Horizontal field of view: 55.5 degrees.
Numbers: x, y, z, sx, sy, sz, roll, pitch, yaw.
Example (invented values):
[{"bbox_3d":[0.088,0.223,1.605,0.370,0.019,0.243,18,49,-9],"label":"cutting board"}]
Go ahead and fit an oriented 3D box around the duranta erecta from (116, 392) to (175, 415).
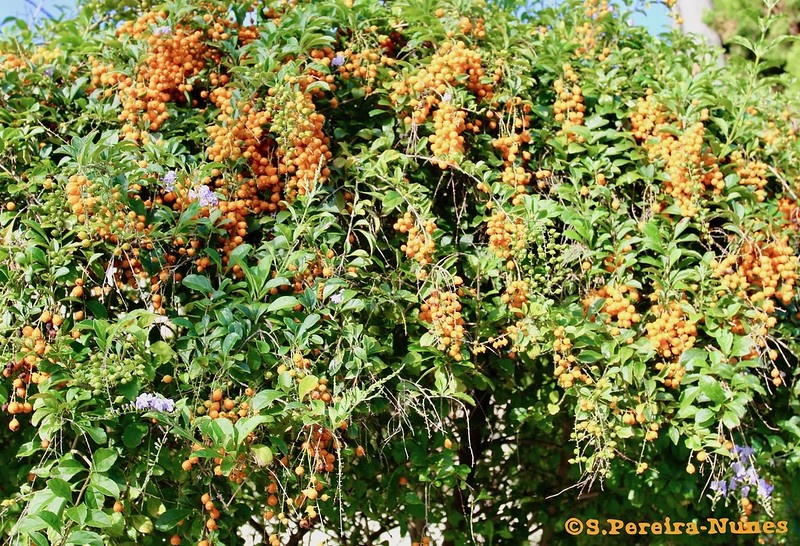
[{"bbox_3d":[-1.059,0.564,3.302,0.190,0.100,0.143,4,-20,-19],"label":"duranta erecta"}]
